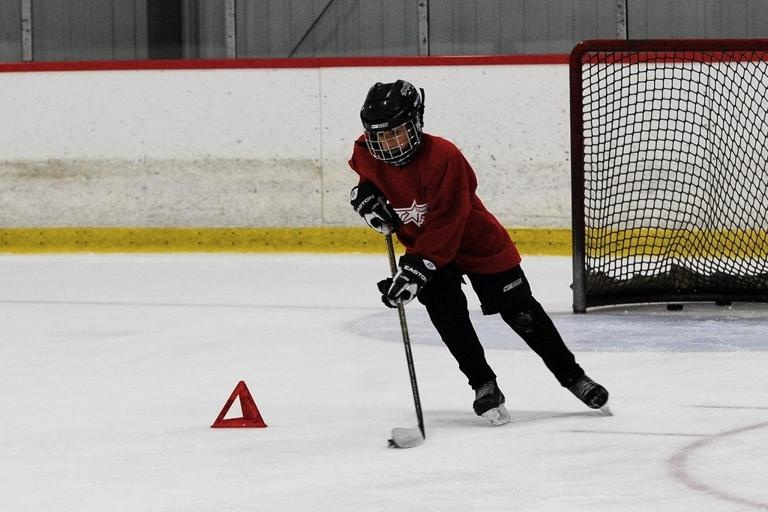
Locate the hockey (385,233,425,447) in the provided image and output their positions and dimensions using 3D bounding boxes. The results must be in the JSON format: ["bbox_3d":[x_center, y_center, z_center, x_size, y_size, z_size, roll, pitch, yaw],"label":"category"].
[{"bbox_3d":[0.043,0.479,6.803,0.240,0.998,0.087,1,-12,-39],"label":"hockey"}]

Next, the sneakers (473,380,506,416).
[{"bbox_3d":[0.533,0.717,6.932,0.094,0.174,0.271,-26,-24,13],"label":"sneakers"}]

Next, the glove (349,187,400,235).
[{"bbox_3d":[-0.014,-0.271,7.031,0.199,0.277,0.116,-46,6,40],"label":"glove"}]
